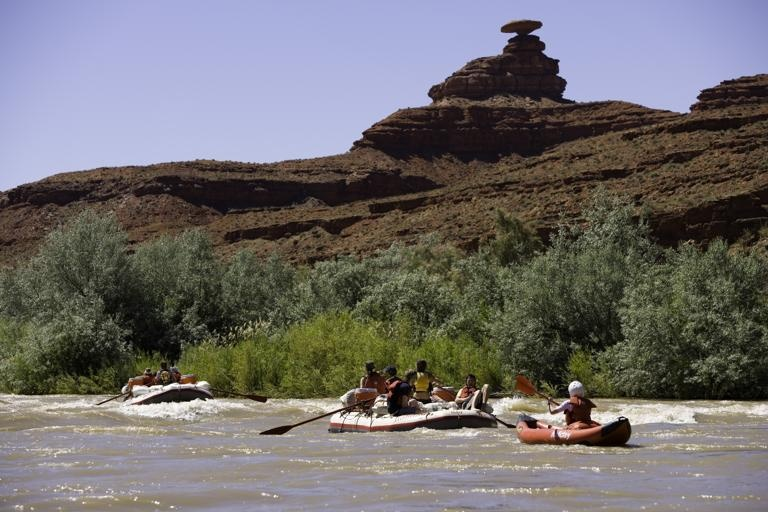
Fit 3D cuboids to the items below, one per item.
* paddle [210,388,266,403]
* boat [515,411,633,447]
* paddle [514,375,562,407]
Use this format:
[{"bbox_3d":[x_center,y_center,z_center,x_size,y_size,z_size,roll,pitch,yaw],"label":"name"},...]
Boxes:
[{"bbox_3d":[-6.624,6.404,57.913,3.000,0.362,0.164,9,10,9],"label":"paddle"},{"bbox_3d":[7.381,6.998,49.260,3.438,1.162,1.774,0,-10,23],"label":"boat"},{"bbox_3d":[6.289,5.666,52.479,0.185,0.844,2.879,3,15,-44],"label":"paddle"}]
